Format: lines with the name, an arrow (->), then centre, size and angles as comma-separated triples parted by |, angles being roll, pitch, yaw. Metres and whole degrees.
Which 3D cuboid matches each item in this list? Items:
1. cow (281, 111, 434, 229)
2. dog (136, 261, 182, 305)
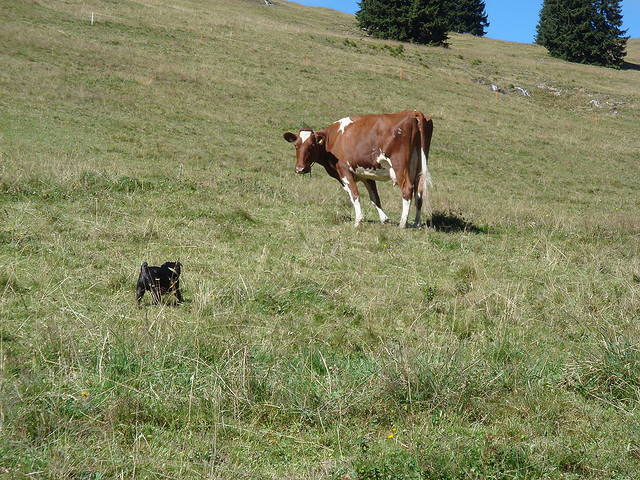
cow -> 1.013, -1.736, 18.331 | 3.539, 2.949, 1.108 | -2, 8, 31
dog -> -2.648, 0.664, 11.931 | 0.337, 0.664, 1.117 | 2, 6, 17
